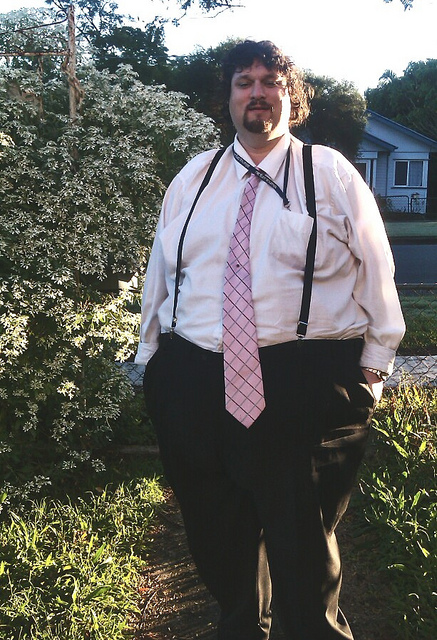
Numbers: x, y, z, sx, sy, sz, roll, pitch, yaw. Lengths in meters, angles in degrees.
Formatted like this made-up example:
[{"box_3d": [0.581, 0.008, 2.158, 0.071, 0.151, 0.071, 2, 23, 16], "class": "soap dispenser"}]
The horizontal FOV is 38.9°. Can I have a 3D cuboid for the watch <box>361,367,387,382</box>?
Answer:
[{"box_3d": [0.436, 0.152, 1.729, 0.074, 0.047, 0.037, -4, 11, -16], "class": "watch"}]

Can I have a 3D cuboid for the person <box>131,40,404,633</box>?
[{"box_3d": [0.130, 0.142, 1.872, 0.725, 1.977, 0.493, 7, 14, 39], "class": "person"}]
